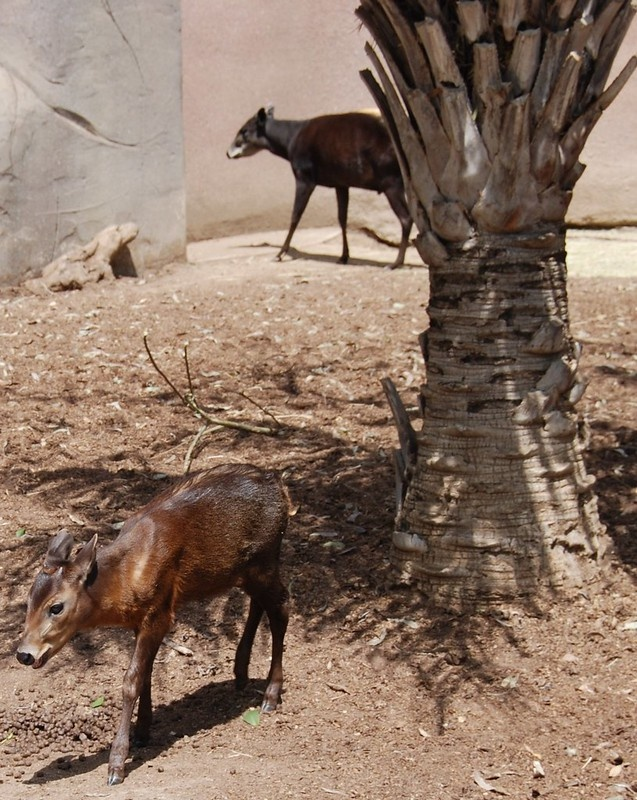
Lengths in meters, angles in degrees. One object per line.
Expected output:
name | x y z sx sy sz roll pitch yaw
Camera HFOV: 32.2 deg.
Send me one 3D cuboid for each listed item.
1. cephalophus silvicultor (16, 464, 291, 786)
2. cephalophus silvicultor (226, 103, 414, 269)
cephalophus silvicultor | -0.576 0.821 4.030 0.399 0.900 1.288 -4 7 38
cephalophus silvicultor | 0.117 -2.019 10.493 2.552 1.367 0.636 9 16 39
